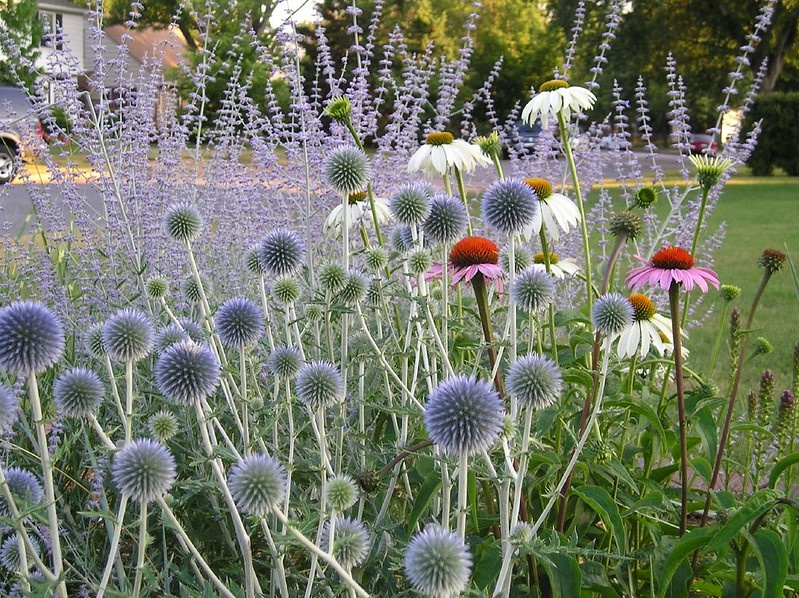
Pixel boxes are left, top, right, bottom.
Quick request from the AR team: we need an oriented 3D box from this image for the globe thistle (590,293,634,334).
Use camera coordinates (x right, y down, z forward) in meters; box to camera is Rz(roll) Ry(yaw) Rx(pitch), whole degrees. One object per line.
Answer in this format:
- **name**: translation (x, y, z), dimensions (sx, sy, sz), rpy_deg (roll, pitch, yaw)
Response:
- **globe thistle**: translation (1.066, 0.081, 4.430), dimensions (0.186, 0.257, 0.198), rpy_deg (5, 5, -26)

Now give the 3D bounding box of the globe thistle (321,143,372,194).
- **globe thistle**: translation (-0.296, -0.694, 4.844), dimensions (0.261, 0.339, 0.281), rpy_deg (3, -10, -26)
